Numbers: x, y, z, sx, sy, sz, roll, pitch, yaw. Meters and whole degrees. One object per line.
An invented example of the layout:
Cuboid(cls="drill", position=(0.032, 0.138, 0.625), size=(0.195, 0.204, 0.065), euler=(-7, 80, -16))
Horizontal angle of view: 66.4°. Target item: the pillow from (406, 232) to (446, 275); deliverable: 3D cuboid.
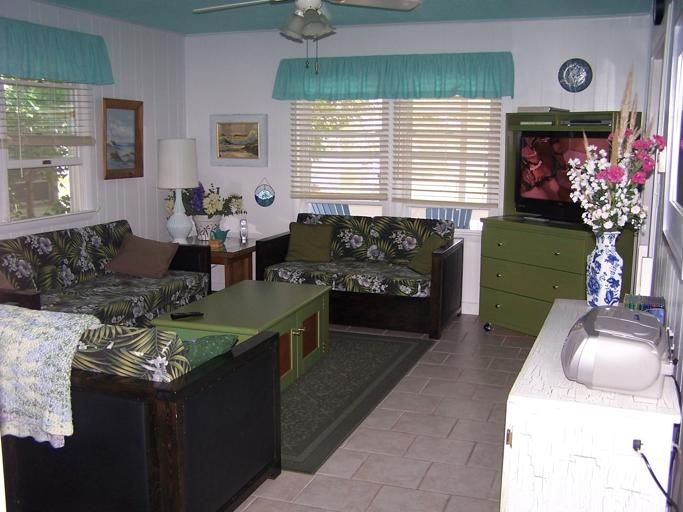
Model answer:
Cuboid(cls="pillow", position=(0.970, -0.015, 5.571), size=(0.433, 0.346, 0.379), euler=(-11, 17, -44))

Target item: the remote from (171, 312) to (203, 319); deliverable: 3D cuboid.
Cuboid(cls="remote", position=(-1.143, 0.449, 3.914), size=(0.231, 0.026, 0.116), euler=(-4, 13, -18))

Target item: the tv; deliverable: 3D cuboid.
Cuboid(cls="tv", position=(2.285, -0.857, 5.390), size=(0.942, 0.927, 0.106), euler=(2, 2, 5))

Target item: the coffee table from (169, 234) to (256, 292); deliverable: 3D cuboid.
Cuboid(cls="coffee table", position=(-1.396, 0.072, 6.207), size=(0.671, 0.677, 0.678), euler=(5, 15, 21))

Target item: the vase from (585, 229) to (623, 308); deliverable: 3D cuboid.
Cuboid(cls="vase", position=(1.432, 0.089, 2.831), size=(0.185, 0.433, 0.334), euler=(7, 14, 27))

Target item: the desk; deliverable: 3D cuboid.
Cuboid(cls="desk", position=(2.128, 0.197, 5.443), size=(0.677, 1.097, 1.168), euler=(-8, 13, -36))

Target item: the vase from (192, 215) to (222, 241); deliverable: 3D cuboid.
Cuboid(cls="vase", position=(-1.606, -0.322, 6.277), size=(0.323, 0.257, 0.323), euler=(0, 1, -1))

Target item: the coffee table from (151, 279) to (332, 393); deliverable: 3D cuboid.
Cuboid(cls="coffee table", position=(-0.722, 0.717, 4.310), size=(0.913, 0.613, 1.419), euler=(0, 9, 22))

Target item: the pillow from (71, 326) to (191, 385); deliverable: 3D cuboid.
Cuboid(cls="pillow", position=(-0.954, 0.442, 2.454), size=(0.414, 0.150, 0.259), euler=(4, 11, 10))

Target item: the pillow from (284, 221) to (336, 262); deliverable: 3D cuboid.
Cuboid(cls="pillow", position=(-0.342, -0.142, 6.054), size=(0.455, 0.436, 0.137), euler=(4, -15, -2))

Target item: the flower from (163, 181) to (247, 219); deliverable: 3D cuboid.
Cuboid(cls="flower", position=(-1.551, -0.628, 6.374), size=(0.777, 0.344, 0.505), euler=(1, 9, -4))

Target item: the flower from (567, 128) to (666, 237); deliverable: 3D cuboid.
Cuboid(cls="flower", position=(1.515, -0.409, 2.879), size=(0.484, 0.555, 0.346), euler=(3, 13, 10))
